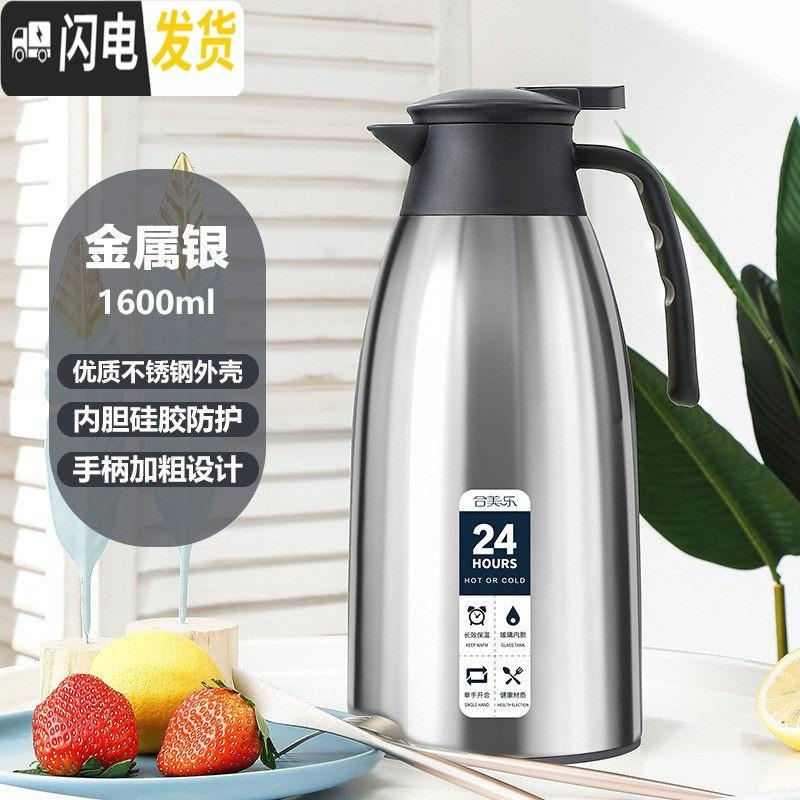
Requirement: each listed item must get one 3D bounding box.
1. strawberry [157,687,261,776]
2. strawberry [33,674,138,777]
[{"bbox_3d":[-0.079,0.144,0.459,0.034,0.038,0.040,-2,49,23],"label":"strawberry"},{"bbox_3d":[-0.136,0.137,0.461,0.041,0.041,0.040,1,-6,-6],"label":"strawberry"}]
